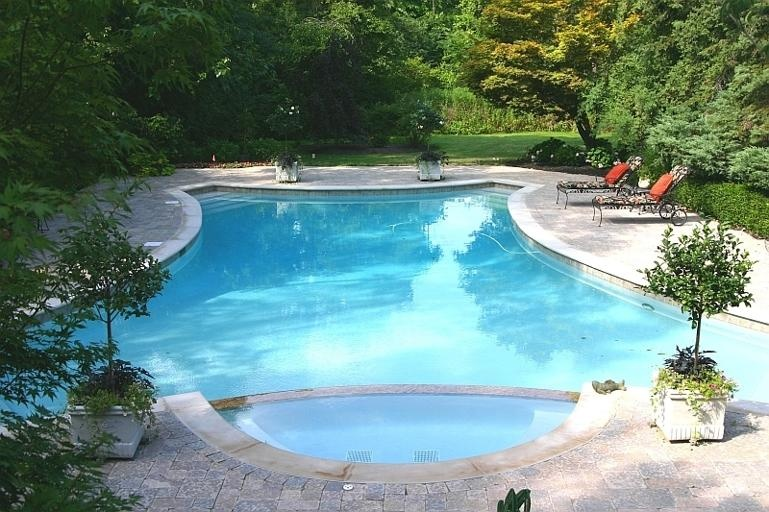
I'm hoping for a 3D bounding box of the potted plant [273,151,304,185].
[{"bbox_3d":[-3.535,-3.275,21.364,1.189,1.046,1.105,0,14,-1],"label":"potted plant"}]

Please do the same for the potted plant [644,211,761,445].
[{"bbox_3d":[3.461,0.867,6.434,1.365,1.933,1.165,-4,-20,32],"label":"potted plant"}]
